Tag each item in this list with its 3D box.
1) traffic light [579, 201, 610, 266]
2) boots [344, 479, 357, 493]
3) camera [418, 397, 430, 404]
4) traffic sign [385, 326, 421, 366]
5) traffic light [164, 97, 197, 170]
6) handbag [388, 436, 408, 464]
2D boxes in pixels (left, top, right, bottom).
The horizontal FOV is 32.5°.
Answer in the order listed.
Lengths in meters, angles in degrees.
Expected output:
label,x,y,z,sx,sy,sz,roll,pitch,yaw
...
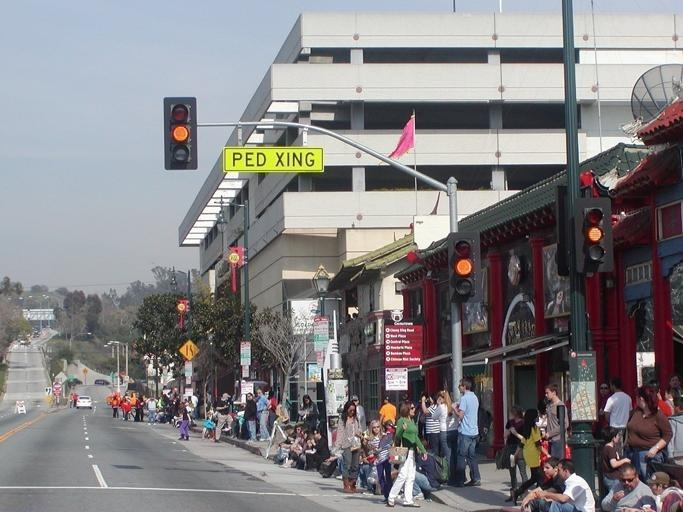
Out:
label,x,y,z,sx,sy,sz,roll,pitch,yaw
traffic light,5.620,-0.463,26.065,0.772,1.608,0.489,-2,-12,12
boots,0.234,6.450,32.836,0.304,0.392,0.349,-7,-8,44
camera,2.455,4.226,34.390,0.214,0.134,0.325,14,-8,2
traffic sign,1.871,2.784,35.782,1.154,1.431,0.194,-1,-40,2
traffic light,-4.084,-3.107,29.775,0.848,1.867,0.281,3,-12,-12
handbag,1.485,5.081,30.366,0.483,0.600,0.361,0,-12,3
